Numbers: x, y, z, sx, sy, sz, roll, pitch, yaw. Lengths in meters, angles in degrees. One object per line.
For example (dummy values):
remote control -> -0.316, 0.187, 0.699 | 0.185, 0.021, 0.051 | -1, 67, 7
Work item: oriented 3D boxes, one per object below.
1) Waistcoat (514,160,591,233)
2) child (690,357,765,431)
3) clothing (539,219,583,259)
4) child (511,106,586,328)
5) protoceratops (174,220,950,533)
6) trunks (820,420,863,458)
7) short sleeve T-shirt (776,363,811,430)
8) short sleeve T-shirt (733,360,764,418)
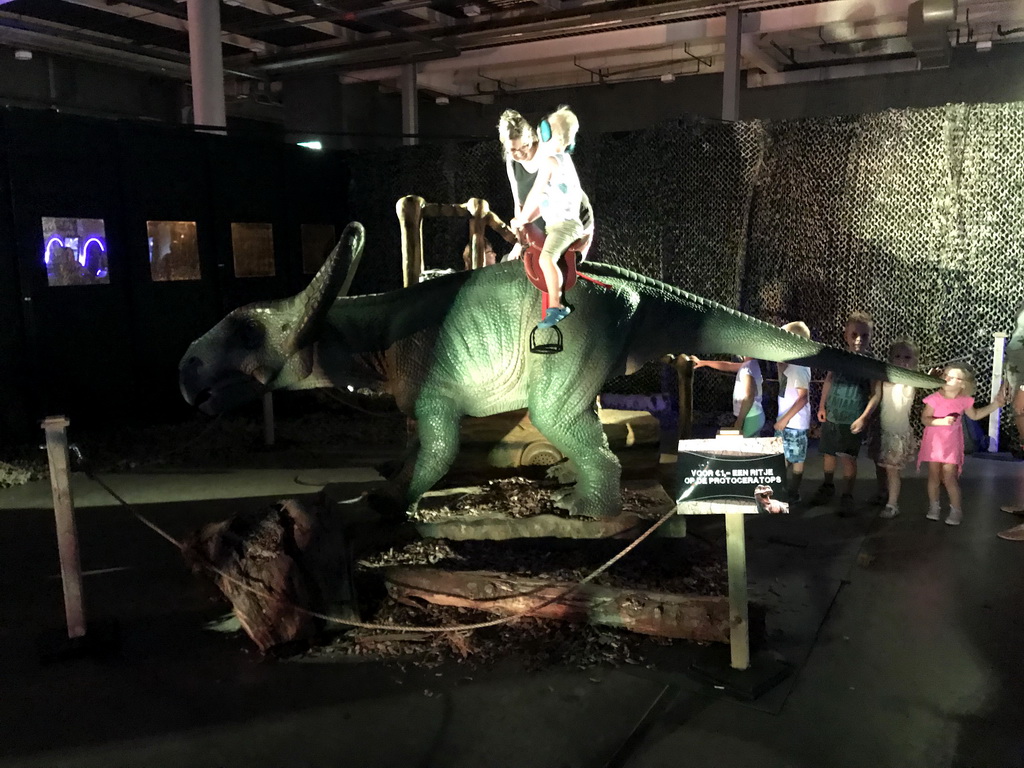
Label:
Waistcoat -> 0.293, -1.195, 5.457 | 0.508, 0.499, 0.378 | 5, 12, 4
child -> 1.919, 0.085, 7.719 | 0.527, 0.866, 0.362 | 4, 31, 18
clothing -> 0.323, -0.911, 5.370 | 0.319, 0.236, 0.112 | -8, 11, -31
child -> 0.266, -1.049, 5.433 | 0.508, 1.358, 0.403 | -4, 10, -11
protoceratops -> -0.270, -0.297, 6.565 | 6.854, 2.462, 1.875 | -3, 7, 0
trunks -> 2.512, 0.401, 6.716 | 0.378, 0.360, 0.247 | -1, 1, 26
short sleeve T-shirt -> 2.170, 0.095, 6.678 | 0.211, 0.506, 0.508 | 3, 4, 12
short sleeve T-shirt -> 1.821, 0.010, 6.657 | 0.218, 0.384, 0.340 | 7, 16, 31
